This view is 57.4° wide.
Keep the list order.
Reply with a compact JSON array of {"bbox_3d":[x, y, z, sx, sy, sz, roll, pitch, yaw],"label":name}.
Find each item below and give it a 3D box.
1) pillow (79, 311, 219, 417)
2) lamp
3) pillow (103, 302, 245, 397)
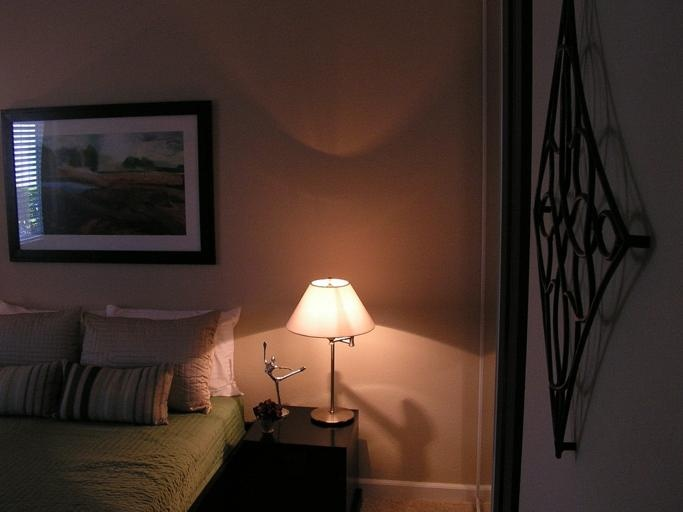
[{"bbox_3d":[-0.961,0.537,3.067,0.668,0.551,0.253,0,-13,-9],"label":"pillow"},{"bbox_3d":[-0.071,0.463,3.076,0.405,0.702,0.417,2,12,-8],"label":"lamp"},{"bbox_3d":[-0.825,0.465,3.076,0.390,0.438,0.119,2,-9,-1],"label":"pillow"}]
